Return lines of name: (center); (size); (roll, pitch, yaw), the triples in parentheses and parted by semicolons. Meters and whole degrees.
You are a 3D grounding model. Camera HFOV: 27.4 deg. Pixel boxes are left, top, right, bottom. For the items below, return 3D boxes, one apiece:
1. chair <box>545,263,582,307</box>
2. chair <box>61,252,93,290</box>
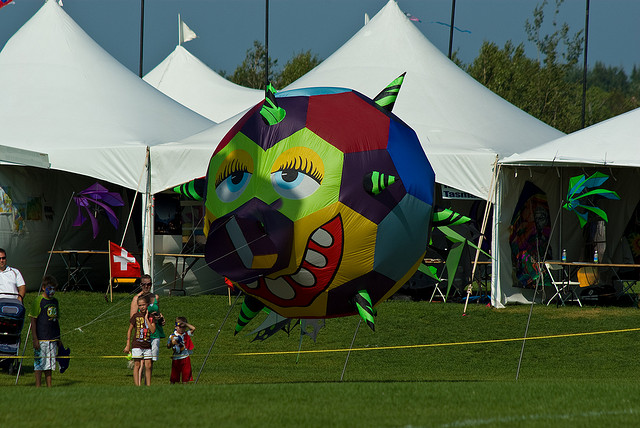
chair: (6.748, 1.834, 36.678); (0.771, 1.429, 0.912); (-3, -9, -4)
chair: (-7.287, 1.717, 39.116); (0.865, 1.079, 1.620); (5, -6, -10)
